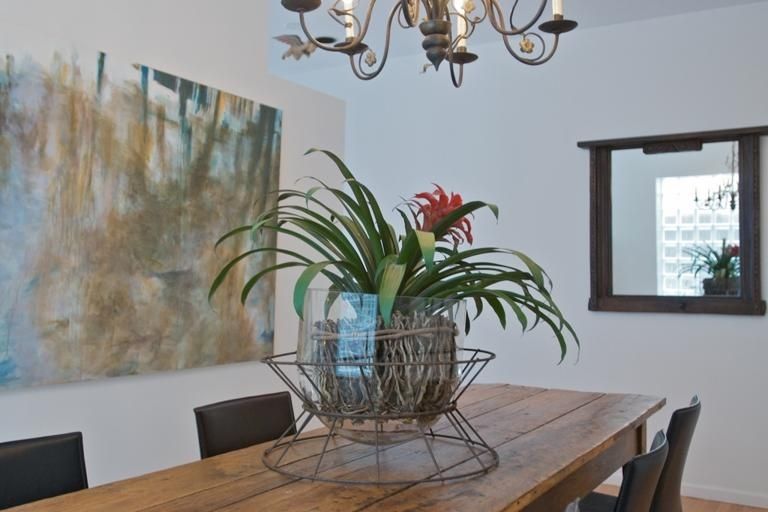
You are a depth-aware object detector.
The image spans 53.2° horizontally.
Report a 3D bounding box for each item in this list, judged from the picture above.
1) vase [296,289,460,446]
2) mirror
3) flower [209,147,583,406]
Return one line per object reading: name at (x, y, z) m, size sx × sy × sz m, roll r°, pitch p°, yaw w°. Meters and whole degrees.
vase at (-0.008, 0.416, 3.030) m, size 0.535 × 0.553 × 0.562 m, roll 0°, pitch -16°, yaw 7°
mirror at (2.102, -0.230, 5.501) m, size 1.074 × 1.360 × 0.122 m, roll -1°, pitch -2°, yaw 27°
flower at (0.066, 0.013, 3.337) m, size 1.395 × 0.744 × 1.642 m, roll 7°, pitch -14°, yaw 21°
